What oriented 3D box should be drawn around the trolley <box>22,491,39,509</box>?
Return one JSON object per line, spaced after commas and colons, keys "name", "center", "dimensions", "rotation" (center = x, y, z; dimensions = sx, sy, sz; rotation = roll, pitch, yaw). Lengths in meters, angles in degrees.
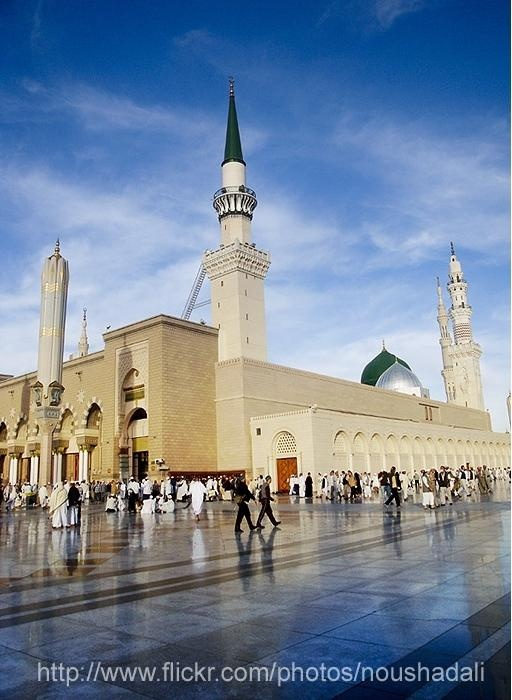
{"name": "trolley", "center": [-13.637, 9.098, 33.597], "dimensions": [1.089, 1.150, 1.064], "rotation": [0, -12, -4]}
